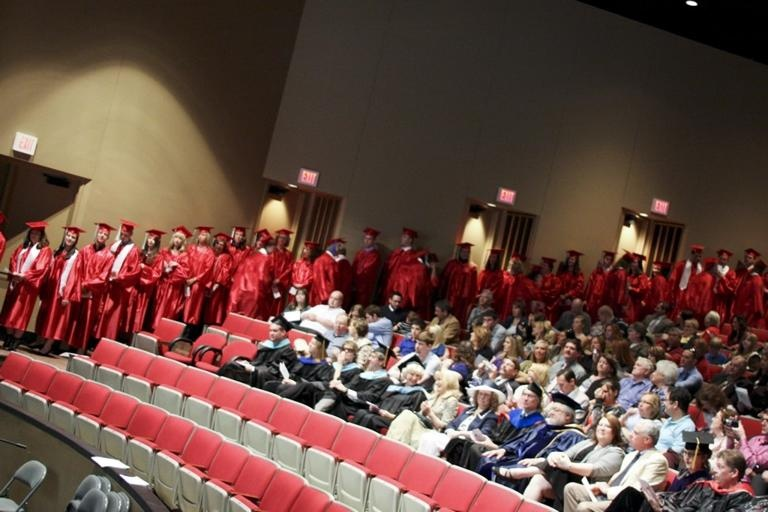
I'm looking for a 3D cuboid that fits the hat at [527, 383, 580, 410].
[{"bbox_3d":[1.701,1.425,5.159,0.452,0.262,0.294,1,-5,24],"label":"hat"}]

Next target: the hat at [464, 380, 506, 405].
[{"bbox_3d":[1.132,1.460,5.525,0.328,0.108,0.360,-6,-35,30],"label":"hat"}]

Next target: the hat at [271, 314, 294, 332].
[{"bbox_3d":[-1.446,0.982,7.365,0.236,0.111,0.277,31,-3,42],"label":"hat"}]

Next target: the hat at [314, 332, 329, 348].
[{"bbox_3d":[-0.878,1.195,7.184,0.193,0.128,0.194,26,7,-33],"label":"hat"}]

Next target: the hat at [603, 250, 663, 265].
[{"bbox_3d":[5.894,0.031,12.028,0.744,0.254,0.739,2,3,-36],"label":"hat"}]

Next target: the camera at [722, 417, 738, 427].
[{"bbox_3d":[3.349,1.618,4.926,0.139,0.055,0.146,3,-9,-8],"label":"camera"}]

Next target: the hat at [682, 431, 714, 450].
[{"bbox_3d":[2.609,1.547,4.255,0.215,0.164,0.170,8,-6,32],"label":"hat"}]
